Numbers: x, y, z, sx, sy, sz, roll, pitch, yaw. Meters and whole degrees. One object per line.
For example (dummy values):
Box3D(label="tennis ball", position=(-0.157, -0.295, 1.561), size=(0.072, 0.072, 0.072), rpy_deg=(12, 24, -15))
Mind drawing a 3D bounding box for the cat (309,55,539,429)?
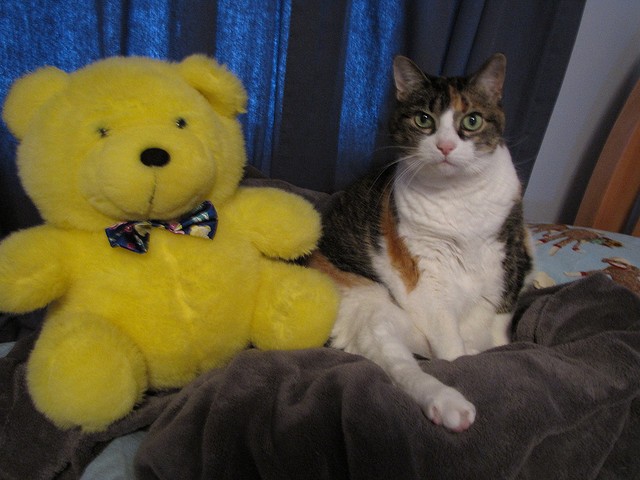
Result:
Box3D(label="cat", position=(0.280, -0.071, 1.535), size=(0.555, 0.824, 0.882), rpy_deg=(3, 12, 15))
